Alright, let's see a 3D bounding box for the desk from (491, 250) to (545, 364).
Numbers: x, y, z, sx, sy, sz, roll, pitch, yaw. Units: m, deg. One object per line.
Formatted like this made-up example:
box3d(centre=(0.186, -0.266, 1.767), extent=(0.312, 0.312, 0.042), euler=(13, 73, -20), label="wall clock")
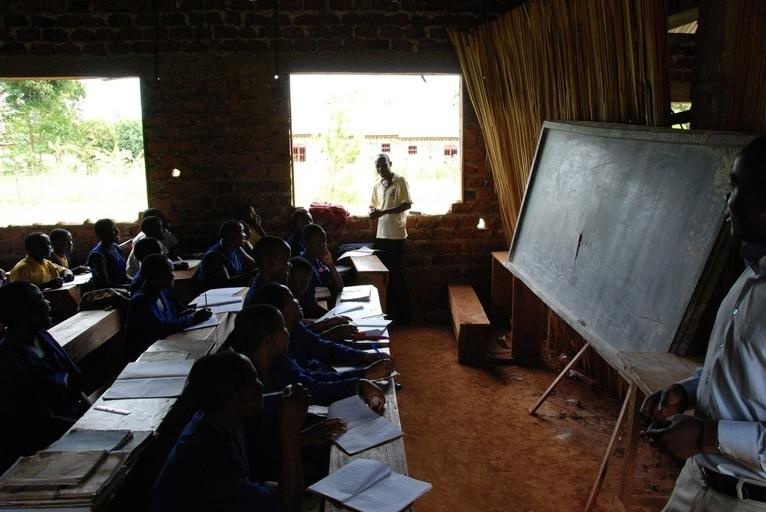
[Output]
box3d(centre=(1.353, 0.528, 4.919), extent=(0.246, 0.579, 1.035), euler=(-3, 15, -3), label="desk")
